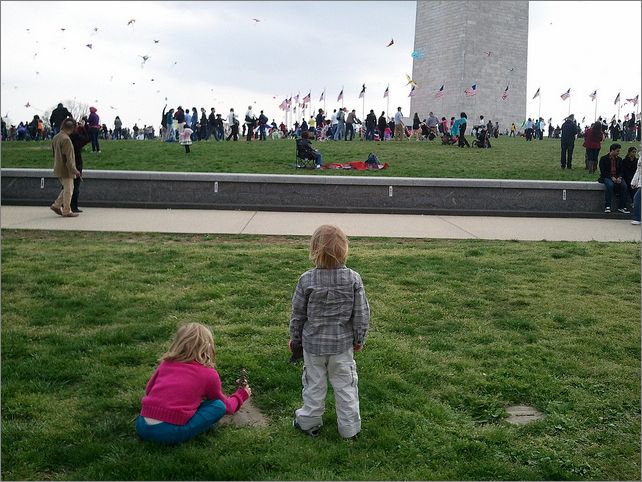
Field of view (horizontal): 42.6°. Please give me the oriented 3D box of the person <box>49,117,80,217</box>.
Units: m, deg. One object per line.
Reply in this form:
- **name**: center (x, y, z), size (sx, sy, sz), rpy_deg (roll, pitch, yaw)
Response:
- **person**: center (-5.127, -1.438, 16.472), size (0.564, 1.977, 0.719), rpy_deg (-2, 11, -18)

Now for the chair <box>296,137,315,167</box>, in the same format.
- **chair**: center (-0.410, -2.329, 22.424), size (0.587, 0.813, 0.579), rpy_deg (-3, 1, 32)

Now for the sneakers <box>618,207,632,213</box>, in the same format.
- **sneakers**: center (6.928, -0.679, 18.754), size (0.245, 0.103, 0.094), rpy_deg (12, 23, 27)

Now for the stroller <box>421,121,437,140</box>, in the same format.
- **stroller**: center (4.698, -4.745, 36.055), size (0.830, 0.858, 0.612), rpy_deg (0, 8, 15)

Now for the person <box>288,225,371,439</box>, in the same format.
- **person**: center (0.089, 0.962, 8.739), size (0.824, 2.199, 0.468), rpy_deg (1, 10, -1)

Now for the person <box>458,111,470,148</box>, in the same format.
- **person**: center (5.460, -4.168, 31.061), size (0.434, 1.283, 1.745), rpy_deg (3, 11, 10)

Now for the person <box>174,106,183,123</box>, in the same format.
- **person**: center (-5.204, -4.612, 30.306), size (0.396, 0.605, 1.325), rpy_deg (-1, 11, -10)

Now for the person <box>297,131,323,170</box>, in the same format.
- **person**: center (-0.279, -2.480, 22.328), size (0.712, 1.004, 1.735), rpy_deg (1, 11, -1)

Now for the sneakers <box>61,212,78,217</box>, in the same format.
- **sneakers**: center (-5.103, -0.536, 16.786), size (0.284, 0.129, 0.104), rpy_deg (-3, 8, -19)

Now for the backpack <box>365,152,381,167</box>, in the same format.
- **backpack**: center (1.446, -2.222, 22.807), size (0.319, 0.193, 0.467), rpy_deg (8, 2, 1)

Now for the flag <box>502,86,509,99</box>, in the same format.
- **flag**: center (12.948, -10.300, 57.490), size (0.420, 0.960, 0.950), rpy_deg (4, 11, 13)

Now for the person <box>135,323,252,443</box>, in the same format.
- **person**: center (-1.415, 1.553, 8.980), size (0.962, 1.267, 1.415), rpy_deg (5, -4, 23)

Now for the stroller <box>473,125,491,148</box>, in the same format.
- **stroller**: center (6.021, -3.840, 30.948), size (0.540, 0.843, 1.491), rpy_deg (-1, 7, 17)

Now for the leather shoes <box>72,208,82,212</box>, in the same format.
- **leather shoes**: center (-5.093, -0.626, 17.224), size (0.183, 0.132, 0.066), rpy_deg (1, 2, -2)
